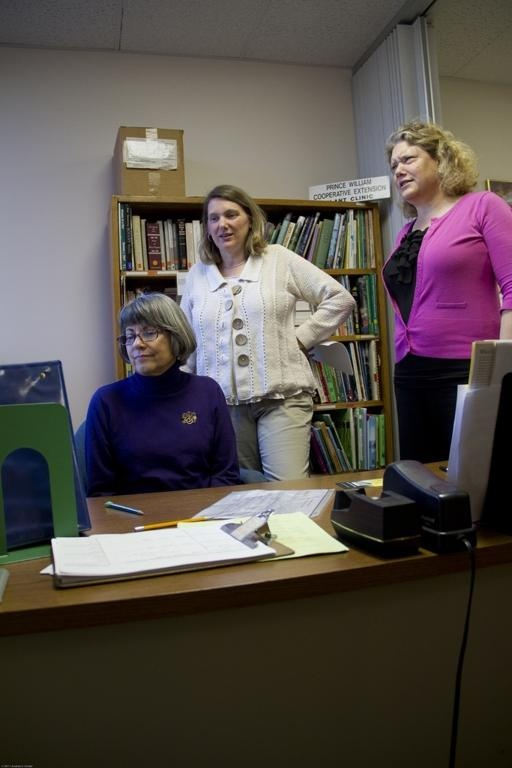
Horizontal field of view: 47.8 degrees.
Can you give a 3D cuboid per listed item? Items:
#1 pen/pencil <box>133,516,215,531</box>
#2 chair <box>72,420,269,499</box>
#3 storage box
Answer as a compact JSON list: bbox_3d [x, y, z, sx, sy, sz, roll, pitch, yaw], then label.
[{"bbox_3d":[-0.130,0.224,0.927,0.148,0.010,0.010,-5,9,-28],"label":"pen/pencil"},{"bbox_3d":[-0.241,0.204,1.636,0.498,0.256,0.367,9,-2,10],"label":"chair"},{"bbox_3d":[-0.514,-1.022,2.794,0.339,0.314,0.340,0,11,-6],"label":"storage box"}]
